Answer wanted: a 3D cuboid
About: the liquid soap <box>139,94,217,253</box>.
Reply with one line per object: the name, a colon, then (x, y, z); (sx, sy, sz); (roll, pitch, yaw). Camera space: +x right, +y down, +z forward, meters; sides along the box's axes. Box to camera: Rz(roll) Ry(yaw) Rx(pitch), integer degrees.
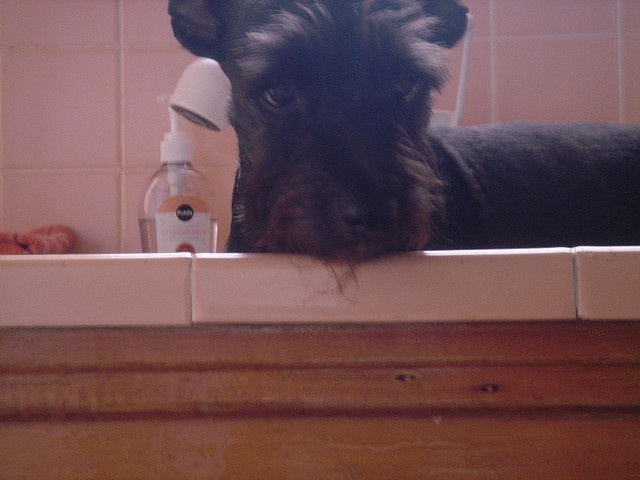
liquid soap: (-0.230, -0.091, 2.437); (0.086, 0.296, 0.078); (-1, -1, -9)
